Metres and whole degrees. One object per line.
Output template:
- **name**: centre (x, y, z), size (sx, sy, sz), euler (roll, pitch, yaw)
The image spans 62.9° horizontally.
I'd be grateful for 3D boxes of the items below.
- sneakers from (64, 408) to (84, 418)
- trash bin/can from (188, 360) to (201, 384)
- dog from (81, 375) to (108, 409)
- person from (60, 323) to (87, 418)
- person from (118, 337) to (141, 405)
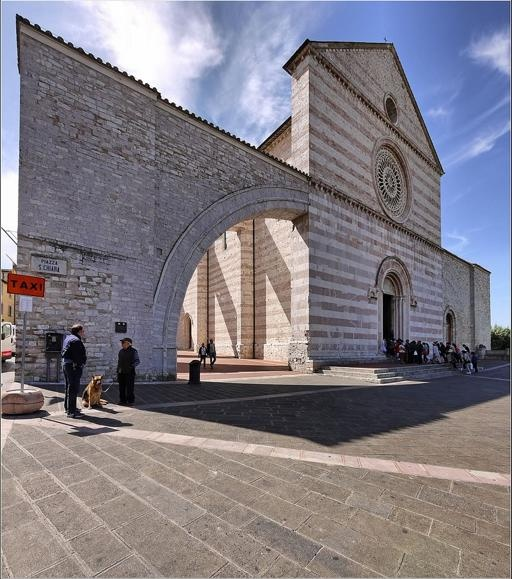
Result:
- **sneakers**: centre (-2.773, 1.956, 6.517), size (0.149, 0.115, 0.268), euler (9, -8, 25)
- **trash bin/can**: centre (-1.596, 2.180, 10.968), size (0.289, 0.604, 0.306), euler (2, -3, -5)
- **dog**: centre (-2.813, 1.867, 7.585), size (0.528, 0.757, 0.406), euler (-15, -15, 28)
- **person**: centre (-2.894, 1.275, 6.694), size (0.321, 1.371, 0.815), euler (3, -3, -25)
- **person**: centre (-2.407, 1.533, 7.922), size (0.354, 1.178, 0.626), euler (2, -3, -18)
